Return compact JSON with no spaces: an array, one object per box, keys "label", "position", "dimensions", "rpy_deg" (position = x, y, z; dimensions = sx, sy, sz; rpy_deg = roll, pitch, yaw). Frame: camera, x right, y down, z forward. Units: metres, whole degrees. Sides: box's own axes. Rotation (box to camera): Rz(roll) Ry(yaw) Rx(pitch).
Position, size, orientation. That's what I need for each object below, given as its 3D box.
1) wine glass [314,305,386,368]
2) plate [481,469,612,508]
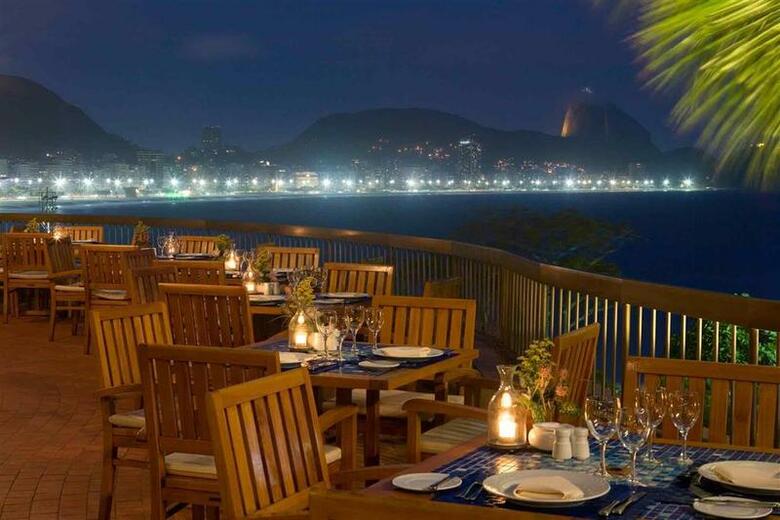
[{"label":"wine glass","position":[-0.271,0.447,3.991],"dimensions":[0.305,0.340,0.373],"rpy_deg":[1,-6,-5]},{"label":"plate","position":[0.486,0.699,2.116],"dimensions":[0.392,0.086,0.275],"rpy_deg":[1,1,-22]}]
